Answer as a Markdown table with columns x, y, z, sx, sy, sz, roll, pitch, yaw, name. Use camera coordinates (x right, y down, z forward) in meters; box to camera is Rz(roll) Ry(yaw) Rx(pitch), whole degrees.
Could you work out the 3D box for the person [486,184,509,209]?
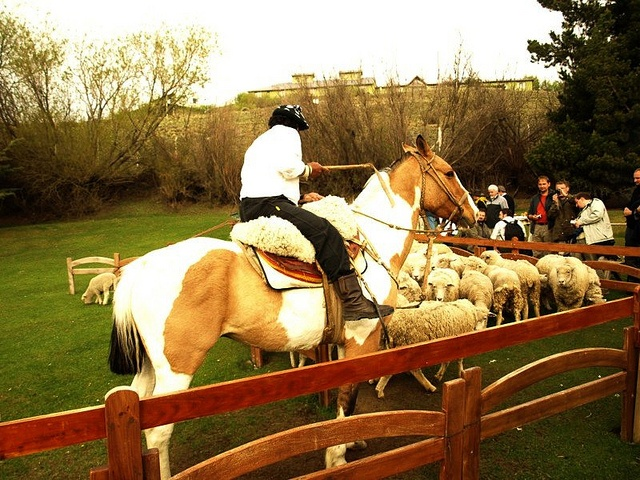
| x | y | z | sx | sy | sz | roll | pitch | yaw | name |
| --- | --- | --- | --- | --- | --- | --- | --- | --- | --- |
| 5.685 | -1.446 | 13.751 | 0.563 | 0.732 | 1.201 | 2 | 14 | 22 | person |
